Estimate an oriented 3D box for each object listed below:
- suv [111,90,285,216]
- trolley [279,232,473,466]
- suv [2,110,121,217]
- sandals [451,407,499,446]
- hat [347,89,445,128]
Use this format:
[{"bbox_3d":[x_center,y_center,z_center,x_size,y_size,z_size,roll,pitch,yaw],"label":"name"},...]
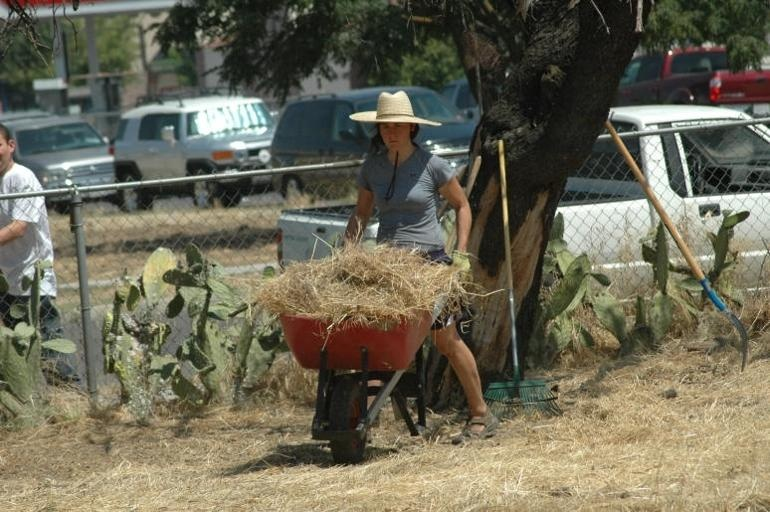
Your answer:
[{"bbox_3d":[-3.381,-1.888,26.147,2.862,1.730,1.820,-6,2,40],"label":"suv"},{"bbox_3d":[-0.126,1.239,17.621,1.545,2.148,3.681,1,1,9],"label":"trolley"},{"bbox_3d":[-5.439,-1.880,26.955,1.877,2.250,4.038,-4,2,-26],"label":"suv"},{"bbox_3d":[1.050,1.896,16.724,0.610,0.246,0.266,-35,21,-12],"label":"sandals"},{"bbox_3d":[0.085,-1.646,16.827,0.764,0.415,0.965,-6,9,-4],"label":"hat"}]
